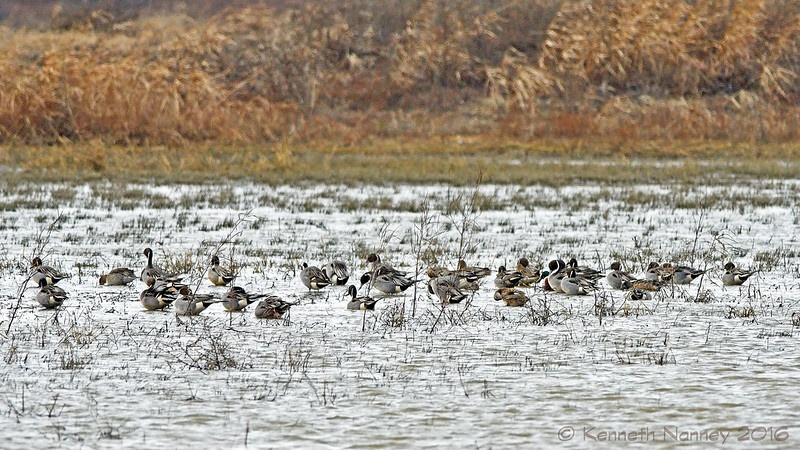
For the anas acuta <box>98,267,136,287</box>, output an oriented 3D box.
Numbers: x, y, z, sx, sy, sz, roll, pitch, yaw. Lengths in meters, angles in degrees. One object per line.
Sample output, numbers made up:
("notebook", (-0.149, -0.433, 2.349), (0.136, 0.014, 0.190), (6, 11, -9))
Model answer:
("anas acuta", (-10.826, 2.020, 43.578), (1.302, 0.596, 0.643), (-16, 0, 15))
